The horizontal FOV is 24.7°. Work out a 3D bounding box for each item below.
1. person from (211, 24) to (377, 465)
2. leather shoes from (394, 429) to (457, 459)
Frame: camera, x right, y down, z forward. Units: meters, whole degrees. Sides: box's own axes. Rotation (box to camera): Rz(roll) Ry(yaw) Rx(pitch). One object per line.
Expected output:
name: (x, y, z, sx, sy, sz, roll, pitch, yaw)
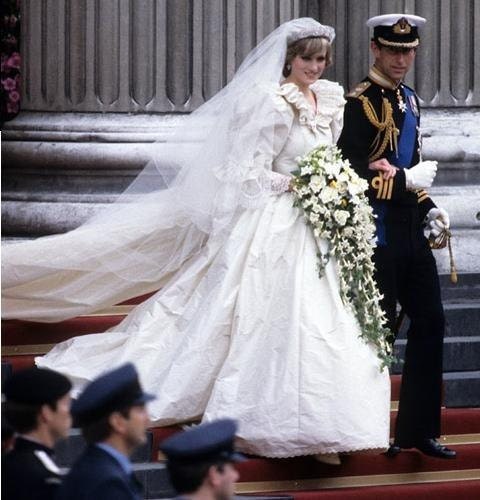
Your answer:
person: (0.286, 0.040, 5.227, 0.841, 1.779, 0.669, 0, 0, 6)
leather shoes: (0.921, 0.937, 5.366, 0.347, 0.138, 0.113, 0, 7, 11)
